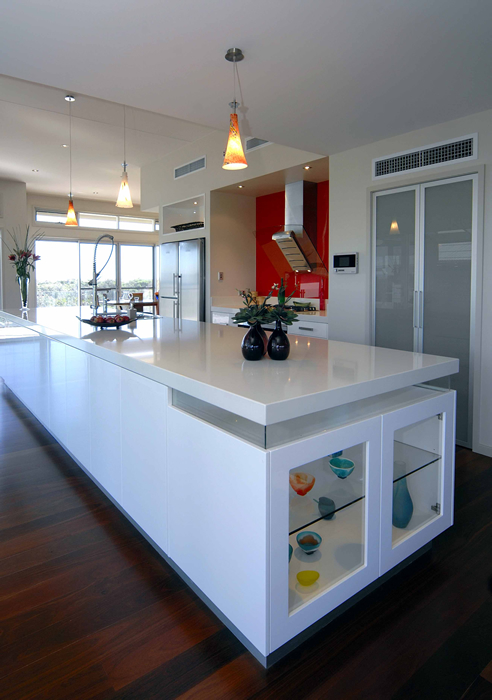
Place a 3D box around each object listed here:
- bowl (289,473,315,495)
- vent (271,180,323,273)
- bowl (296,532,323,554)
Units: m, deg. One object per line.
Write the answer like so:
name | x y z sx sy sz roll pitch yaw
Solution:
bowl | 0.152 0.361 1.349 0.075 0.058 0.078 1 8 0
vent | 0.511 -1.273 5.079 0.625 0.926 0.420 -6 9 -41
bowl | 0.179 0.552 1.421 0.072 0.052 0.075 1 8 0
